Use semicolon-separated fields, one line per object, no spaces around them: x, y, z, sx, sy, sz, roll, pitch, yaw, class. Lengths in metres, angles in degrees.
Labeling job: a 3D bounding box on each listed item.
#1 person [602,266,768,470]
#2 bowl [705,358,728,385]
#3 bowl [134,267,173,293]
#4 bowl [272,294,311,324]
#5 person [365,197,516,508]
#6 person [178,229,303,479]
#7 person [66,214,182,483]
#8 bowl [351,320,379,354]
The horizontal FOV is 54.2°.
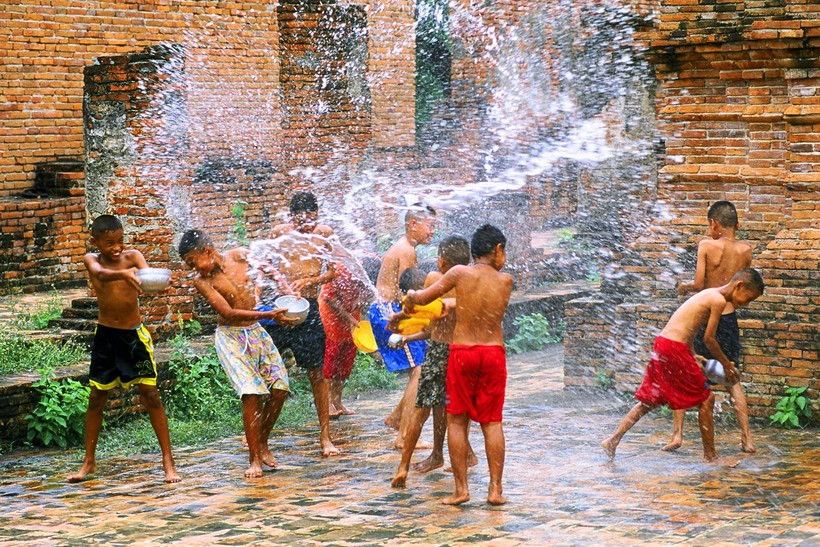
2.679;0.867;7.774;1.399;1.790;0.519;-1;6;9;person
2.962;0.952;7.756;0.139;0.241;0.145;-12;49;14;bowl
-2.280;0.065;7.213;0.242;0.135;0.226;-1;-6;0;bowl
-1.164;0.333;7.932;0.314;0.162;0.288;7;27;-4;bowl
0.424;0.750;6.914;0.871;2.277;0.822;0;6;19;person
-1.653;0.733;7.720;0.830;2.300;0.626;0;6;19;person
-2.715;0.686;7.467;0.852;2.443;0.846;-5;6;-27;person
-0.450;0.763;9.037;0.137;0.321;0.340;-19;-47;38;bowl
